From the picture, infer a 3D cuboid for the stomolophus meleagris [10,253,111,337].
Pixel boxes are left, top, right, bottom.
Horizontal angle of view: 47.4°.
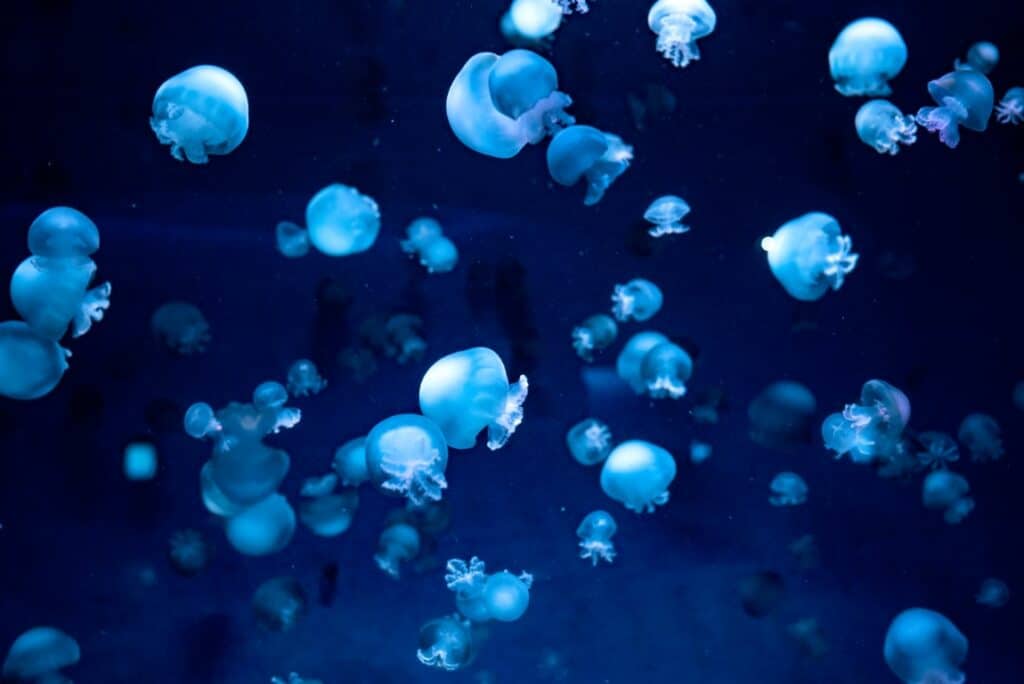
[{"bbox_3d":[-2.836,-0.276,7.375,0.562,0.499,0.432,18,-9,-2],"label":"stomolophus meleagris"}]
